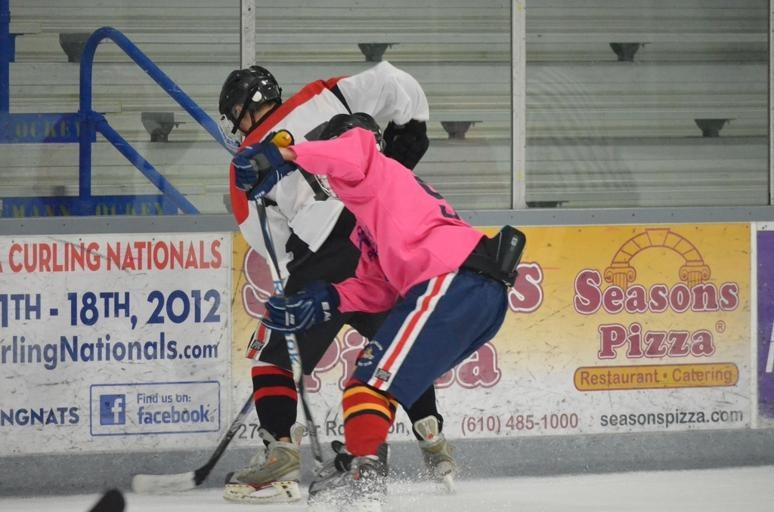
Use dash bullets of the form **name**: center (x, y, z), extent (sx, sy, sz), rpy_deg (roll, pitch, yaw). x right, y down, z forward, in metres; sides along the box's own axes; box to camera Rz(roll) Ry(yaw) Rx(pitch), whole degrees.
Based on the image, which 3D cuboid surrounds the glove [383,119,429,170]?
- **glove**: center (0.111, -0.629, 9.977), extent (0.268, 0.260, 0.103), rpy_deg (27, 12, -8)

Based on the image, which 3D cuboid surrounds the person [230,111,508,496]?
- **person**: center (0.010, 0.198, 9.402), extent (1.397, 1.998, 0.528), rpy_deg (-1, -7, 3)

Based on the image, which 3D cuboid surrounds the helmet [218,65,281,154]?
- **helmet**: center (-0.693, -0.801, 9.946), extent (0.487, 0.444, 0.372), rpy_deg (-2, -3, 31)

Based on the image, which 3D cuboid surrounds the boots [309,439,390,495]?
- **boots**: center (-0.242, 1.120, 9.536), extent (0.200, 0.253, 0.577), rpy_deg (10, -16, -31)

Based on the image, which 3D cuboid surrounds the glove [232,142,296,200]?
- **glove**: center (-0.644, -0.450, 9.314), extent (0.296, 0.282, 0.131), rpy_deg (-16, -16, 1)
